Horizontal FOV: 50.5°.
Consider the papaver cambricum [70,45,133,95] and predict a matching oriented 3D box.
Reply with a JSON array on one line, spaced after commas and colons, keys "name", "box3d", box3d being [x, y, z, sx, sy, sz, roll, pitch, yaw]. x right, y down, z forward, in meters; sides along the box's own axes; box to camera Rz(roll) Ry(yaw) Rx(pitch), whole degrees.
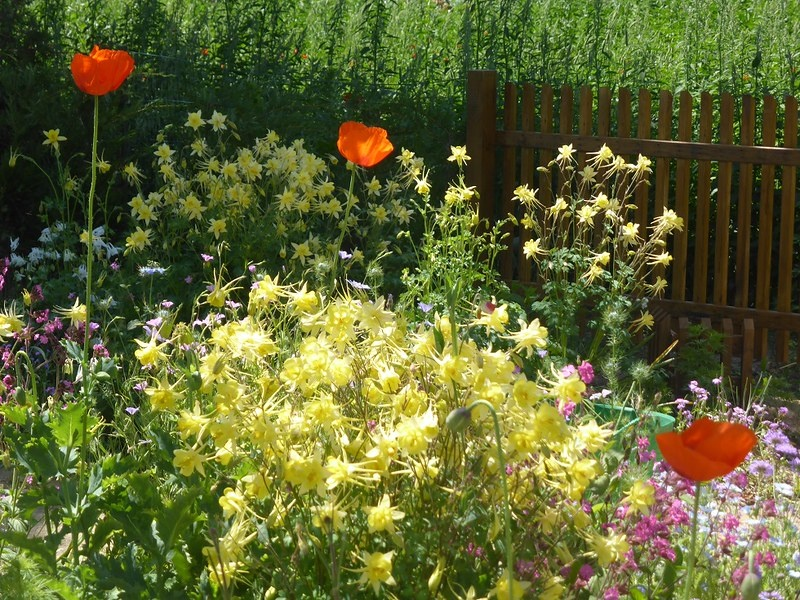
[{"name": "papaver cambricum", "box3d": [-1.070, -0.864, 3.043, 0.193, 0.174, 0.197, -17, -9, -18]}]
